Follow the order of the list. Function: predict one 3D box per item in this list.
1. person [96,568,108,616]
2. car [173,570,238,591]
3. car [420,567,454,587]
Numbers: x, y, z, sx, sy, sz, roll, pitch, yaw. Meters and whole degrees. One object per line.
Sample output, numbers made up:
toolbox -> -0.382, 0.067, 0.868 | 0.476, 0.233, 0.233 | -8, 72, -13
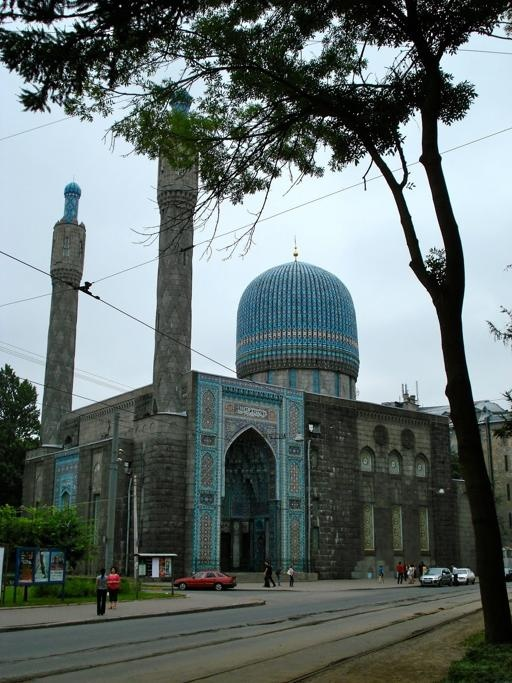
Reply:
person -> -3.986, 6.481, 17.621 | 0.243, 1.120, 0.895 | 1, -15, -11
car -> -2.227, 10.974, 30.964 | 2.332, 0.811, 1.101 | 1, -20, 7
car -> 9.090, 11.984, 34.513 | 1.007, 0.827, 1.782 | -19, -35, 27
